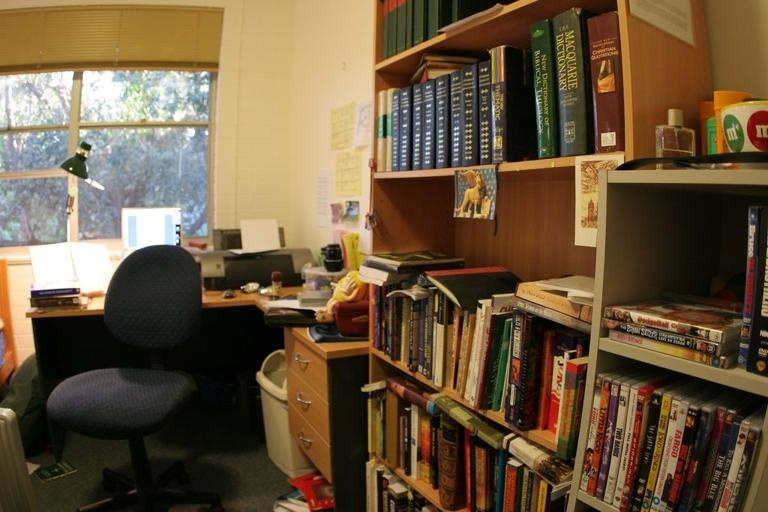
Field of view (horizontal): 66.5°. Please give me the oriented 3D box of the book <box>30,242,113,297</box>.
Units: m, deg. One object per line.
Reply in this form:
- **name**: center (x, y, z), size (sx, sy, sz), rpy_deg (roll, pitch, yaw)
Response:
- **book**: center (-1.922, 0.072, 3.628), size (0.399, 0.411, 0.096), rpy_deg (-7, -6, -20)

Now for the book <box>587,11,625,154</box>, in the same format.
- **book**: center (0.666, -0.512, 1.761), size (0.108, 0.405, 0.057), rpy_deg (1, 9, 32)

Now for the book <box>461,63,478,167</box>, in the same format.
- **book**: center (0.308, -0.495, 2.098), size (0.068, 0.344, 0.025), rpy_deg (2, 10, 39)

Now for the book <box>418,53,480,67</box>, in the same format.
- **book**: center (0.251, -0.745, 2.269), size (0.226, 0.064, 0.119), rpy_deg (-3, 9, 7)

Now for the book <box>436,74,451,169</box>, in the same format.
- **book**: center (0.215, -0.497, 2.199), size (0.035, 0.335, 0.072), rpy_deg (-10, 10, -39)

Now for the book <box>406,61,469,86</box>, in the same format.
- **book**: center (0.212, -0.685, 2.218), size (0.148, 0.042, 0.151), rpy_deg (0, 4, 32)

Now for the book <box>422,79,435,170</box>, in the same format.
- **book**: center (0.169, -0.496, 2.242), size (0.059, 0.327, 0.031), rpy_deg (3, 10, 42)

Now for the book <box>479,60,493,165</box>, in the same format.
- **book**: center (0.355, -0.494, 2.050), size (0.063, 0.346, 0.033), rpy_deg (4, 11, 43)

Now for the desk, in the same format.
- **desk**: center (-1.176, 0.611, 3.342), size (1.296, 0.764, 1.320), rpy_deg (-1, 0, -27)

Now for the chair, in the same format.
- **chair**: center (-1.217, 0.622, 2.840), size (0.726, 1.254, 0.571), rpy_deg (-7, 8, -19)

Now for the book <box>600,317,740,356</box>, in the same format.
- **book**: center (0.776, 0.219, 1.598), size (0.324, 0.080, 0.043), rpy_deg (0, 9, 24)

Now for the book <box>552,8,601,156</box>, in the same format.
- **book**: center (0.601, -0.536, 1.811), size (0.150, 0.431, 0.432), rpy_deg (-4, 3, 15)

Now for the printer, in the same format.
- **printer**: center (-0.854, -0.106, 3.755), size (0.598, 0.427, 0.369), rpy_deg (-3, 6, -26)
